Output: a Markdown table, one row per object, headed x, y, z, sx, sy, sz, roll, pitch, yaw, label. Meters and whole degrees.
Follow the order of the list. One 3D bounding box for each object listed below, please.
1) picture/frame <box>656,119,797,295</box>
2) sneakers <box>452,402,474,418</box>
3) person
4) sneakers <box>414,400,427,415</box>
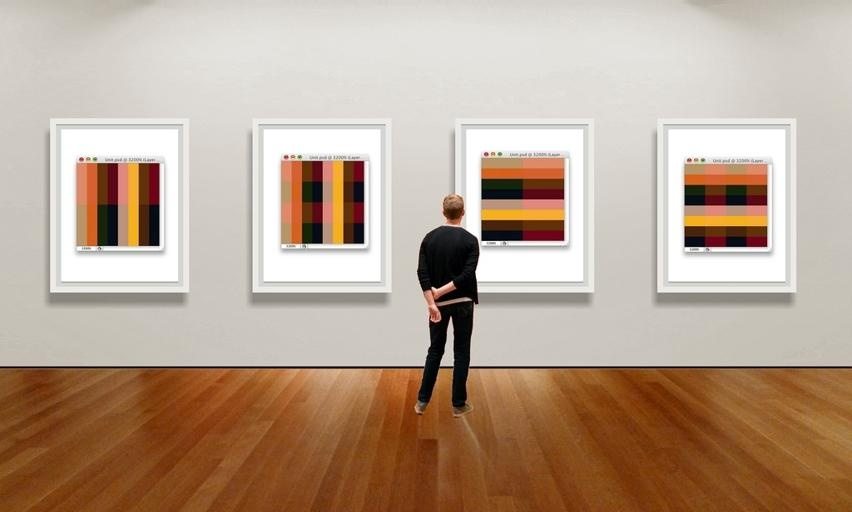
| x | y | z | sx | sy | sz | roll | pitch | yaw | label |
| --- | --- | --- | --- | --- | --- | --- | --- | --- | --- |
| 3.737 | -0.644 | 7.778 | 2.089 | 2.645 | 0.102 | 0 | -4 | 2 | picture/frame |
| 0.382 | 1.643 | 6.813 | 0.239 | 0.161 | 0.097 | -11 | 13 | -36 | sneakers |
| 0.213 | 0.688 | 6.710 | 0.637 | 2.018 | 0.286 | 1 | 6 | -1 | person |
| -0.052 | 1.621 | 6.836 | 0.102 | 0.153 | 0.158 | 23 | 8 | 5 | sneakers |
